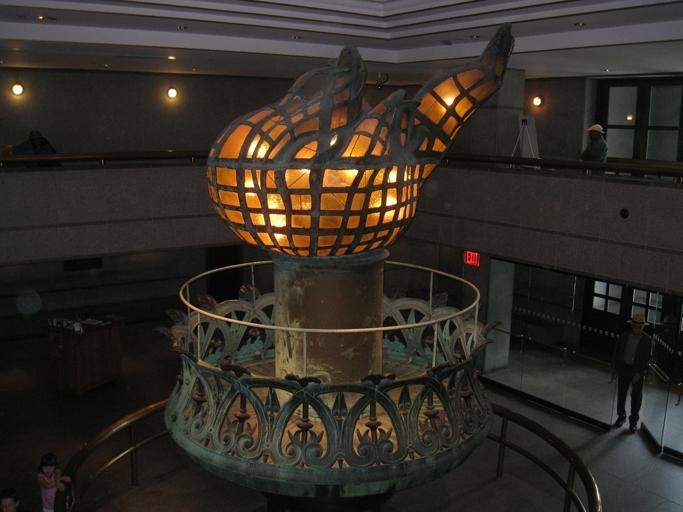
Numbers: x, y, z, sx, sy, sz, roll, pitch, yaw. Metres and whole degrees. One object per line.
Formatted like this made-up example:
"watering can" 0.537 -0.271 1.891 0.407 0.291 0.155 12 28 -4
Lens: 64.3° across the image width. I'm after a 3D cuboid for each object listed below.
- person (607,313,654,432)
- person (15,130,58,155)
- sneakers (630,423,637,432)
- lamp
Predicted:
"person" 5.561 2.236 10.377 0.609 2.531 0.551 9 14 42
"person" -6.506 -2.397 11.431 0.715 0.474 1.955 -7 13 -30
"sneakers" 5.769 3.379 10.739 0.150 0.161 0.096 1 1 15
"lamp" 0.118 -0.900 4.425 2.259 1.713 1.864 2 16 4
